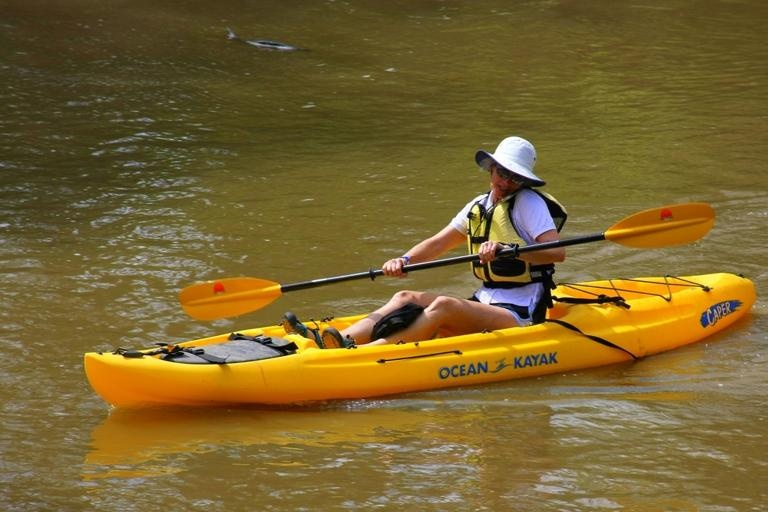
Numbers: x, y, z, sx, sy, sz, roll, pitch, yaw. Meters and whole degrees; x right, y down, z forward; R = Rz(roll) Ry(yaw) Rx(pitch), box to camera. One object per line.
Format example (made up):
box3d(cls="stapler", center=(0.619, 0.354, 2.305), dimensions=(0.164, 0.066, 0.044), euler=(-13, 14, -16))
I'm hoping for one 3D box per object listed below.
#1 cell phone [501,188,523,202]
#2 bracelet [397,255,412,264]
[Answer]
box3d(cls="cell phone", center=(0.978, -0.475, 7.364), dimensions=(0.171, 0.039, 0.097), euler=(-19, 6, 17))
box3d(cls="bracelet", center=(0.167, 0.030, 7.636), dimensions=(0.142, 0.055, 0.070), euler=(-8, 19, -4))
